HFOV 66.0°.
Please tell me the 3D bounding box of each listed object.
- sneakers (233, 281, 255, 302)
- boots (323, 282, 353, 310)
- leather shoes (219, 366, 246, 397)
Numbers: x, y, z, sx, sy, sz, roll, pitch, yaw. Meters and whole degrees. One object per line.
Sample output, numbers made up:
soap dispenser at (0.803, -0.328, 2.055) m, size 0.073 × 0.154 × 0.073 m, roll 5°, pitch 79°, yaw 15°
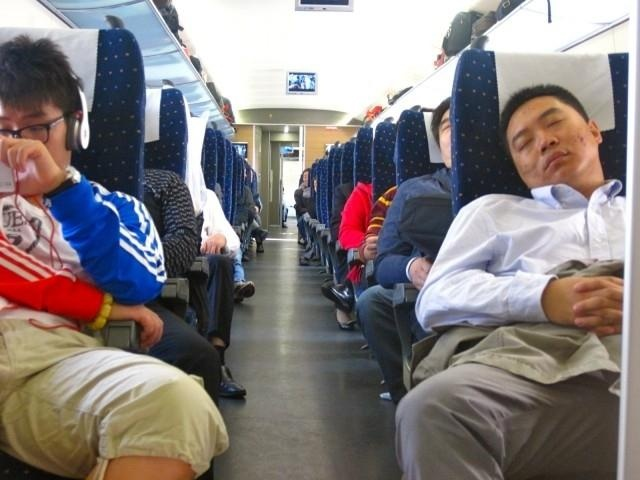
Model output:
sneakers at (-0.696, 0.458, 4.499) m, size 0.111 × 0.144 × 0.339 m, roll 11°, pitch -37°, yaw -23°
boots at (0.171, 0.491, 4.318) m, size 0.098 × 0.281 × 0.198 m, roll -29°, pitch 25°, yaw 40°
leather shoes at (-0.497, 0.766, 2.685) m, size 0.117 × 0.146 × 0.349 m, roll 10°, pitch -17°, yaw -32°
